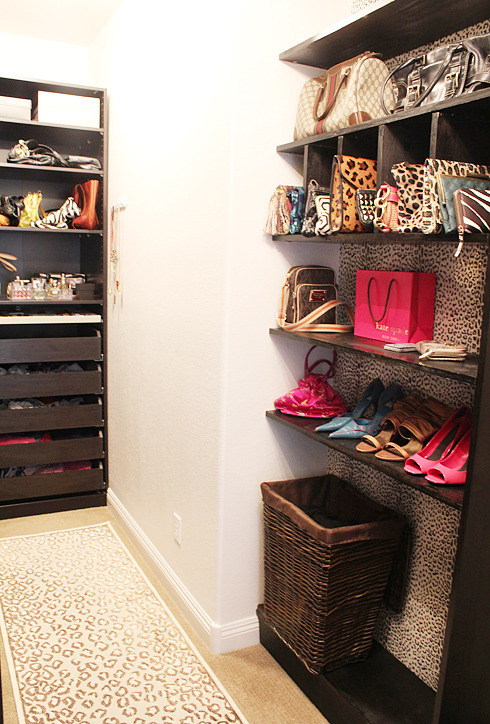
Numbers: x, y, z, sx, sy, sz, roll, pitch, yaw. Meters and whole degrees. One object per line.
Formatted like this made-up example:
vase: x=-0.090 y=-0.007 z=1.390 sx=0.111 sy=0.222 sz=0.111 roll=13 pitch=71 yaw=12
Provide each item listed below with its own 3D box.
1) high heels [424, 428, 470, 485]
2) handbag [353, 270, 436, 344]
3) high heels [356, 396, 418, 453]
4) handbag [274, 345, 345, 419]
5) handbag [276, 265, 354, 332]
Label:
high heels: x=0.471 y=0.215 z=1.242 sx=0.059 sy=0.084 sz=0.191 roll=0 pitch=11 yaw=41
handbag: x=0.425 y=-0.153 z=1.489 sx=0.080 sy=0.161 sz=0.184 roll=-9 pitch=17 yaw=-30
high heels: x=0.388 y=0.177 z=1.457 sx=0.077 sy=0.048 sz=0.300 roll=-7 pitch=20 yaw=36
handbag: x=0.230 y=0.118 z=1.966 sx=0.243 sy=0.296 sz=0.238 roll=19 pitch=-23 yaw=-33
handbag: x=0.215 y=-0.220 z=1.814 sx=0.245 sy=0.241 sz=0.234 roll=-2 pitch=13 yaw=-20
